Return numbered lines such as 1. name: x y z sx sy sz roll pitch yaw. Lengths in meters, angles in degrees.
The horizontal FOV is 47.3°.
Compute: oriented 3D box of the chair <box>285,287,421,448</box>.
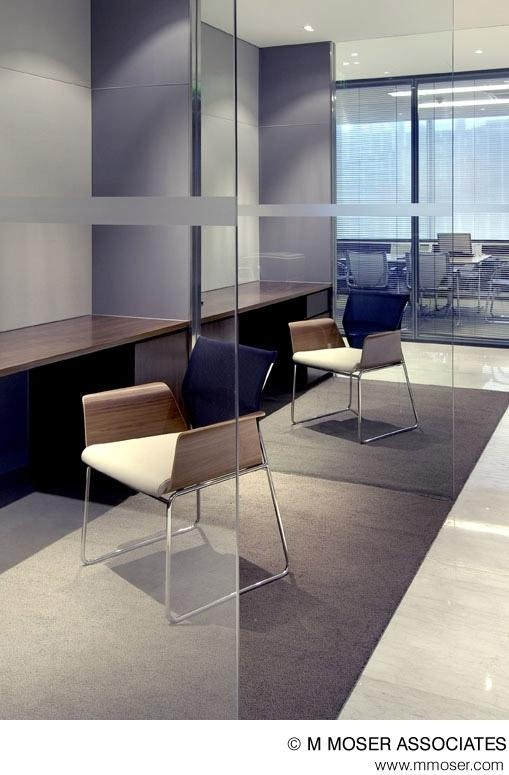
1. chair: 0.313 -0.127 2.546 0.500 0.819 0.480 8 10 44
